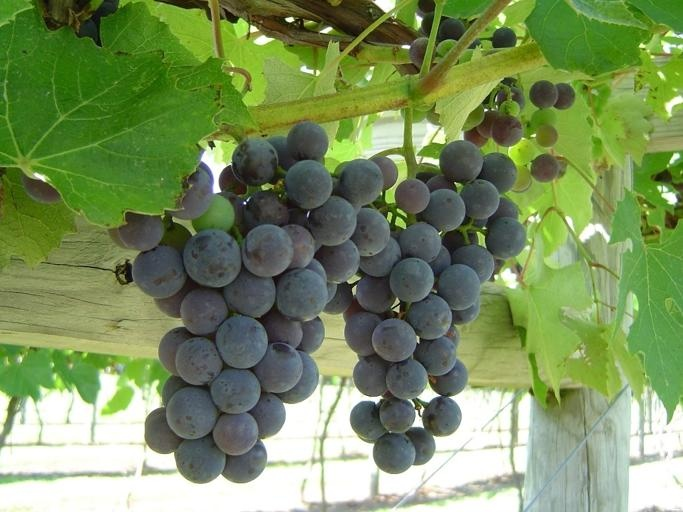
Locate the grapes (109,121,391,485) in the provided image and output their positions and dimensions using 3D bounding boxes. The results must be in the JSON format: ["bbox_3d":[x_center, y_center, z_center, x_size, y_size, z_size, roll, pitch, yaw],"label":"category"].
[{"bbox_3d":[-0.117,0.140,1.090,0.267,0.602,0.259,13,-1,-31],"label":"grapes"}]

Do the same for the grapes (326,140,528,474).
[{"bbox_3d":[0.121,0.066,1.210,0.259,0.544,0.249,3,-2,-38],"label":"grapes"}]
